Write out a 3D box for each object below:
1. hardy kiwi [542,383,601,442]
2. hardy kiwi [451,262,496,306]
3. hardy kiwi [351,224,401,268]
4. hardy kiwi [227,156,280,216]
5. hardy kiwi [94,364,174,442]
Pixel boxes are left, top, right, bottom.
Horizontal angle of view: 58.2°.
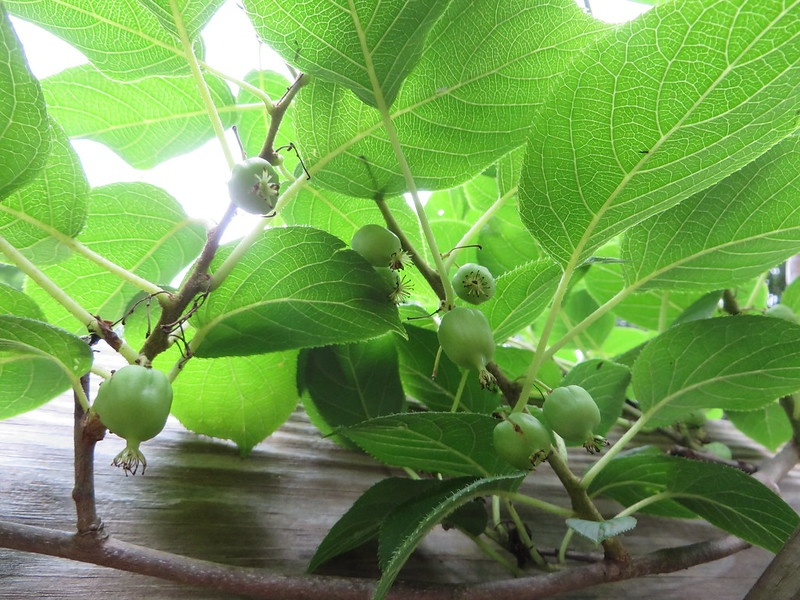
[{"bbox_3d":[0.347,0.227,1.450,0.120,0.112,0.102,-18,-8,-10],"label":"hardy kiwi"},{"bbox_3d":[0.151,-0.034,1.516,0.107,0.079,0.053,1,-5,4],"label":"hardy kiwi"},{"bbox_3d":[-0.027,-0.126,1.507,0.085,0.058,0.108,27,-2,-36],"label":"hardy kiwi"},{"bbox_3d":[-0.276,-0.216,1.364,0.100,0.108,0.046,15,2,-12],"label":"hardy kiwi"},{"bbox_3d":[-0.486,0.191,1.280,0.160,0.142,0.127,1,3,5],"label":"hardy kiwi"}]
